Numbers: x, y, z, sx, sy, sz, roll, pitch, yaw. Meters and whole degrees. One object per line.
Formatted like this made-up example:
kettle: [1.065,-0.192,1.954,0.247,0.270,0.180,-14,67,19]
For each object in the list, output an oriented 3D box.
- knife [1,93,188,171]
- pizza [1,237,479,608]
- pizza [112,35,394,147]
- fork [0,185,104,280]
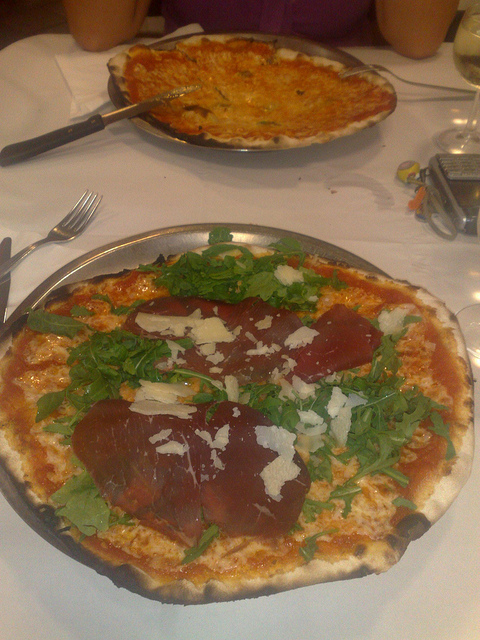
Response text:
knife: [-0.351,-0.459,1.526,0.649,0.049,0.078,-16,63,-3]
pizza: [-0.008,0.147,0.956,0.646,0.065,0.592,-4,40,-7]
pizza: [0.028,-0.609,1.601,0.643,0.091,0.378,0,46,-1]
fork: [-0.403,-0.180,1.311,0.045,0.046,0.321,42,64,16]
